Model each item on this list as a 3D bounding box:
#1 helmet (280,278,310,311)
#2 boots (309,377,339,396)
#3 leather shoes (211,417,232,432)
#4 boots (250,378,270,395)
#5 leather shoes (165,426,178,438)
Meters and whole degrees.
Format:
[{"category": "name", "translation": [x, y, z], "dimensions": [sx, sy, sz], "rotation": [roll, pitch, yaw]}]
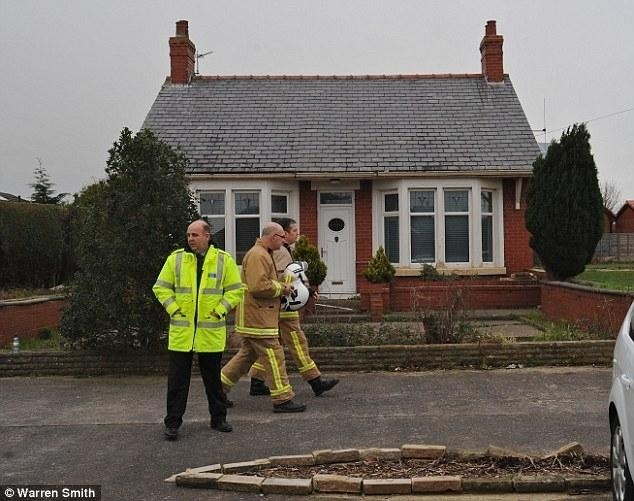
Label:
[{"category": "helmet", "translation": [-0.364, 0.664, 17.842], "dimensions": [0.499, 0.609, 0.440], "rotation": [0, 23, 3]}, {"category": "boots", "translation": [0.088, 2.136, 17.956], "dimensions": [0.472, 0.301, 0.395], "rotation": [-2, 2, -7]}, {"category": "leather shoes", "translation": [-1.385, 2.513, 16.369], "dimensions": [0.134, 0.191, 0.370], "rotation": [-2, -2, -42]}, {"category": "boots", "translation": [-0.935, 2.172, 18.171], "dimensions": [0.342, 0.419, 0.199], "rotation": [-1, 1, -9]}, {"category": "leather shoes", "translation": [-2.056, 2.559, 15.982], "dimensions": [0.097, 0.145, 0.302], "rotation": [2, -8, -7]}]
